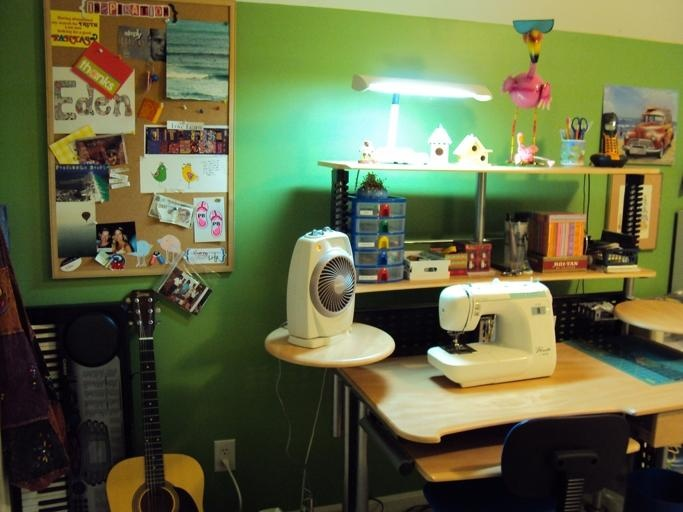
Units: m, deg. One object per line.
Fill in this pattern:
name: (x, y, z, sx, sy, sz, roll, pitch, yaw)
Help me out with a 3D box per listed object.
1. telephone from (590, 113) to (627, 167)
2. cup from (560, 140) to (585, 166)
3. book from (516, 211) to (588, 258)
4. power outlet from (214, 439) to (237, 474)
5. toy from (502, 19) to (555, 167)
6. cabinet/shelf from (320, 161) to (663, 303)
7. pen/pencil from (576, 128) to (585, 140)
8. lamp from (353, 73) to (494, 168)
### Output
telephone: (1.450, -0.625, 3.197, 0.186, 0.285, 0.171, 2, 8, 18)
cup: (1.155, -0.526, 3.013, 0.127, 0.134, 0.117, 2, 4, 0)
book: (1.089, -0.124, 3.033, 0.202, 0.253, 0.353, -4, 10, -17)
power outlet: (-0.580, 0.985, 2.921, 0.097, 0.137, 0.012, 4, -36, -18)
toy: (0.935, -0.824, 2.964, 0.221, 0.717, 0.409, 2, 11, 20)
cabinet/shelf: (0.812, -0.097, 2.998, 1.837, 0.837, 0.399, -5, 11, -13)
pen/pencil: (1.192, -0.612, 2.947, 0.023, 0.081, 0.021, 16, -7, 24)
lamp: (0.285, -0.657, 2.695, 0.497, 0.327, 0.336, -3, -13, -10)
